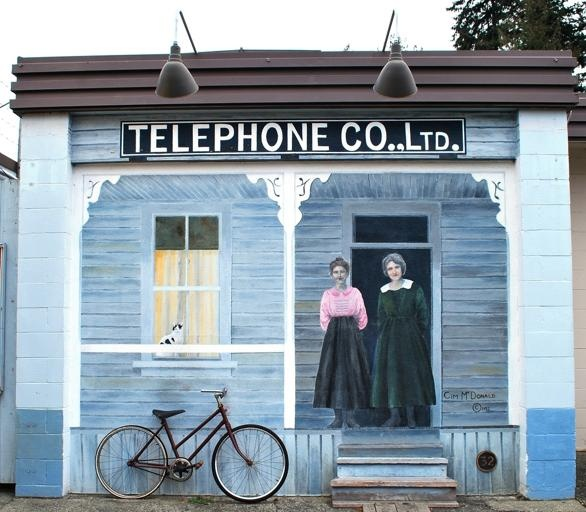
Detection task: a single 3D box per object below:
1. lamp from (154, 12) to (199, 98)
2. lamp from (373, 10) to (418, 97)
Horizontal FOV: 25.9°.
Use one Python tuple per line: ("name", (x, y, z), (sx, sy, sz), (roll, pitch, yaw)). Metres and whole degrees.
("lamp", (-1.238, -2.201, 13.587), (0.485, 0.985, 1.502), (0, -9, -6))
("lamp", (1.085, -2.182, 13.571), (0.472, 0.968, 0.998), (-2, -9, 4))
